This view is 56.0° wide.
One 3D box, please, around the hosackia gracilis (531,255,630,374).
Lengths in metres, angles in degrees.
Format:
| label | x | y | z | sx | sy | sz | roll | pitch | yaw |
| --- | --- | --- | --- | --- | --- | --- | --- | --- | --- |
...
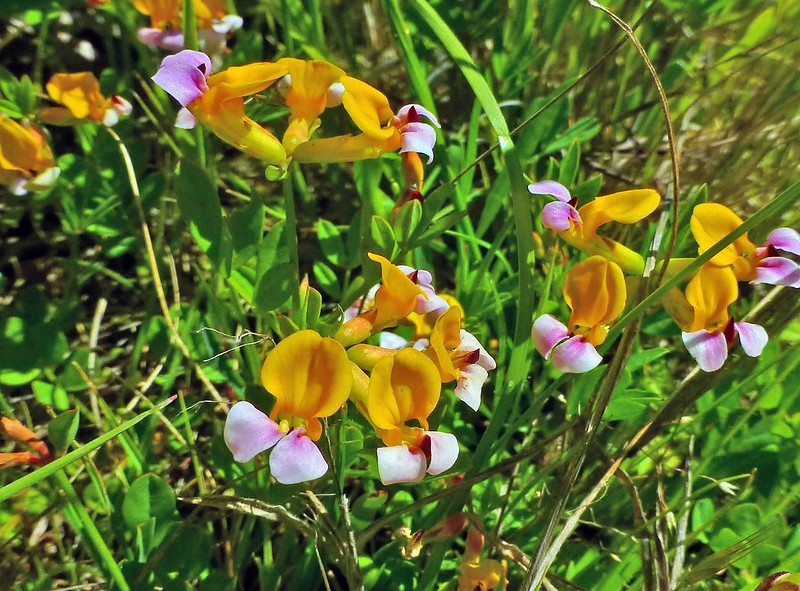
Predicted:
| label | x | y | z | sx | sy | sz | roll | pitch | yaw |
| --- | --- | --- | --- | --- | --- | --- | --- | --- | --- |
| hosackia gracilis | 0.536 | 0.055 | 2.167 | 0.211 | 0.372 | 0.140 | 31 | 16 | 24 |

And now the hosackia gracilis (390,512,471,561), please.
| label | x | y | z | sx | sy | sz | roll | pitch | yaw |
| --- | --- | --- | --- | --- | --- | --- | --- | --- | --- |
| hosackia gracilis | 0.099 | 0.652 | 2.155 | 0.229 | 0.095 | 0.105 | -13 | 96 | -26 |

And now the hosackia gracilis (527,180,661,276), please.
| label | x | y | z | sx | sy | sz | roll | pitch | yaw |
| --- | --- | --- | --- | --- | --- | --- | --- | --- | --- |
| hosackia gracilis | 0.605 | -0.237 | 2.262 | 0.112 | 0.284 | 0.327 | -18 | 25 | -24 |

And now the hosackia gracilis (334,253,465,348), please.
| label | x | y | z | sx | sy | sz | roll | pitch | yaw |
| --- | --- | --- | --- | --- | --- | --- | --- | --- | --- |
| hosackia gracilis | 0.000 | 0.026 | 2.196 | 0.318 | 0.265 | 0.217 | -22 | 106 | 9 |

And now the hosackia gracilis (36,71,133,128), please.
| label | x | y | z | sx | sy | sz | roll | pitch | yaw |
| --- | --- | --- | --- | --- | --- | --- | --- | --- | --- |
| hosackia gracilis | -1.049 | -0.628 | 2.502 | 0.197 | 0.080 | 0.214 | 2 | 69 | -41 |

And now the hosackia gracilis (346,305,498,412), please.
| label | x | y | z | sx | sy | sz | roll | pitch | yaw |
| --- | --- | --- | --- | --- | --- | --- | --- | --- | --- |
| hosackia gracilis | 0.033 | 0.155 | 2.156 | 0.476 | 0.222 | 0.213 | 4 | 47 | 10 |

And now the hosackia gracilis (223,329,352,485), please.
| label | x | y | z | sx | sy | sz | roll | pitch | yaw |
| --- | --- | --- | --- | --- | --- | --- | --- | --- | --- |
| hosackia gracilis | -0.276 | 0.272 | 1.988 | 0.285 | 0.467 | 0.145 | 24 | 30 | -7 |

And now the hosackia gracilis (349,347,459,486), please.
| label | x | y | z | sx | sy | sz | roll | pitch | yaw |
| --- | --- | --- | --- | --- | --- | --- | --- | --- | --- |
| hosackia gracilis | 0.005 | 0.306 | 2.023 | 0.206 | 0.180 | 0.424 | -8 | 52 | -21 |
